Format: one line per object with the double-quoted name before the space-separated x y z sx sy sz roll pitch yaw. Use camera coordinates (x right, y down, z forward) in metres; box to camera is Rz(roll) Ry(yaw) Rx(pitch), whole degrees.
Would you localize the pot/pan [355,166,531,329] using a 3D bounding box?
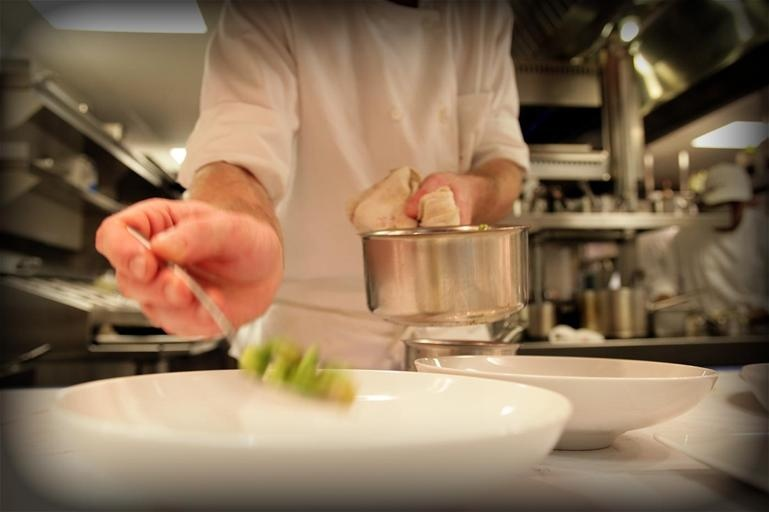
"pot/pan" 0.091 -0.016 1.067 0.316 0.233 0.237 -1 88 12
